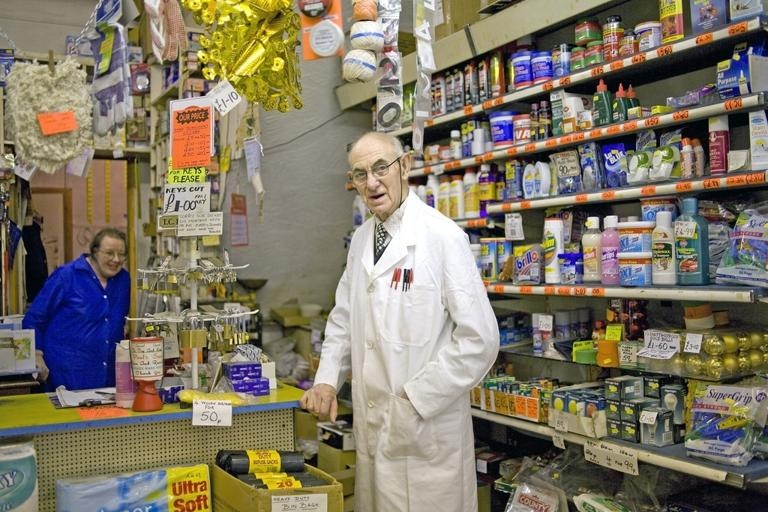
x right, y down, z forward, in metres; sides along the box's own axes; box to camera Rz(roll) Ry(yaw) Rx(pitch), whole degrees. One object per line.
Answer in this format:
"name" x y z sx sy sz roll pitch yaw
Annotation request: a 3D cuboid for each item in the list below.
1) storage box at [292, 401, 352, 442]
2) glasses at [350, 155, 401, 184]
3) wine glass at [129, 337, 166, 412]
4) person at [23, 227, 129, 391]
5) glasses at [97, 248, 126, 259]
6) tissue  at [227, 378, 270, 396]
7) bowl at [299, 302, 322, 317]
"storage box" -0.562 1.448 5.424 0.590 0.215 0.432 1 1 4
"glasses" -0.043 -0.431 3.216 0.262 0.150 0.122 -1 -4 1
"wine glass" -1.206 0.596 3.216 0.151 0.366 0.104 1 -4 -21
"person" -2.272 0.391 4.724 0.712 1.212 0.430 1 -4 -27
"glasses" -2.044 -0.018 4.776 0.192 0.065 0.096 2 -4 -29
"tissue " -0.715 0.701 3.424 0.146 0.068 0.108 2 -4 -24
"bowl" -0.764 0.563 6.625 0.149 0.065 0.151 1 6 0
